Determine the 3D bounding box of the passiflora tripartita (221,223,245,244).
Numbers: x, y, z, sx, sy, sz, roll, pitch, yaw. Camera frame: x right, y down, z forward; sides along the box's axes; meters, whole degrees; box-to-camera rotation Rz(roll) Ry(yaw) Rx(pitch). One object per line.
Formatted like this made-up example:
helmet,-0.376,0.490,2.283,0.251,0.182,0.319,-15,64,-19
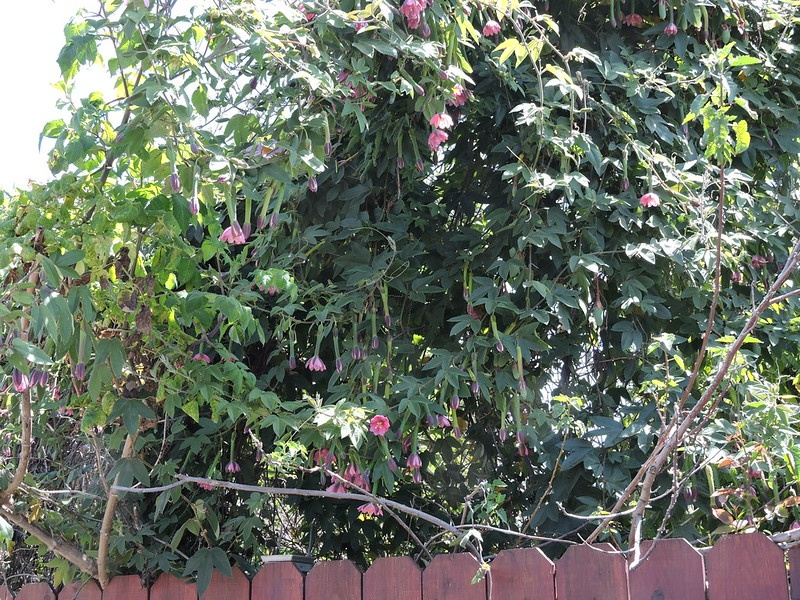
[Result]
passiflora tripartita,-0.549,-0.206,3.029,0.064,0.072,0.036,16,-51,41

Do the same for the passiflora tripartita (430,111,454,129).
passiflora tripartita,0.146,-0.649,3.329,0.073,0.049,0.041,-4,-29,7

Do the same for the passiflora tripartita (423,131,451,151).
passiflora tripartita,0.138,-0.598,3.443,0.039,0.067,0.071,51,-18,-6
